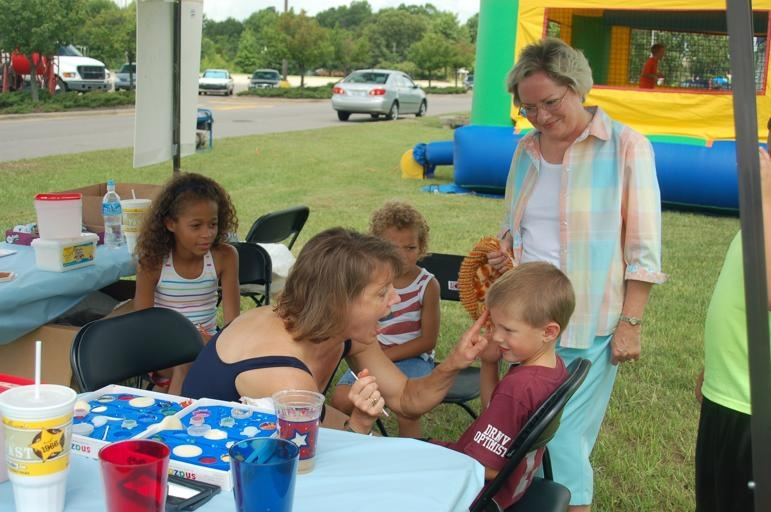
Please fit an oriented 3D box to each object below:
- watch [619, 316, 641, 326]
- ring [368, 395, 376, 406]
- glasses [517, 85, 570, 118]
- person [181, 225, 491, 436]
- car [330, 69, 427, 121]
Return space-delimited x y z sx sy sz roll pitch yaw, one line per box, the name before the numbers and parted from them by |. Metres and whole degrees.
watch | 1.080 0.282 2.908 0.093 0.043 0.046 0 10 1
ring | -0.049 0.508 2.329 0.037 0.038 0.010 2 0 -10
glasses | 0.676 -0.678 2.988 0.127 0.116 0.269 -5 10 -21
person | -0.198 0.307 2.534 1.033 0.835 0.598 -7 12 -32
car | -0.060 -4.810 19.560 1.344 1.077 3.025 6 18 22
